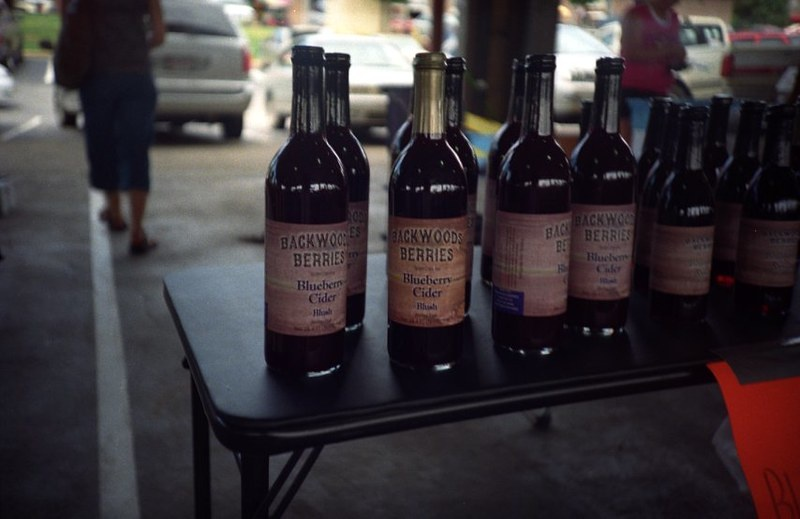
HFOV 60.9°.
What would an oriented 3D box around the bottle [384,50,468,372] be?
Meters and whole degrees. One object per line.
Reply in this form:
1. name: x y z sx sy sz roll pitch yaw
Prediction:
1. bottle: 0.048 -0.078 1.234 0.141 0.558 0.143 -2 20 1
